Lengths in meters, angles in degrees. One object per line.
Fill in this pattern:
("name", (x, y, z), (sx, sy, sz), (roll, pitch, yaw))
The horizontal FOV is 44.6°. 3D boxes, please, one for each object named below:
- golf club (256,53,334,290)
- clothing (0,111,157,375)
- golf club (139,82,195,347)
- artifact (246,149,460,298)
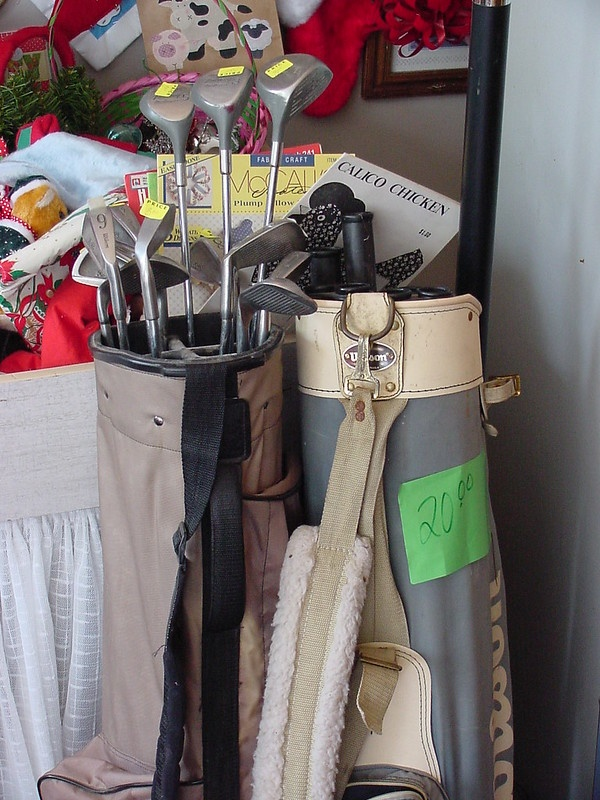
("golf club", (-0.009, -0.221, 0.706), (0.066, 0.192, 0.038), (5, 17, -15))
("clothing", (-0.301, -0.192, 0.902), (0.264, 0.322, 0.089), (-5, 16, -39))
("golf club", (-0.117, -0.179, 0.757), (0.057, 0.260, 0.050), (7, 27, 14))
("artifact", (0.089, -0.205, 0.822), (0.143, 0.147, 0.035), (22, 46, -13))
